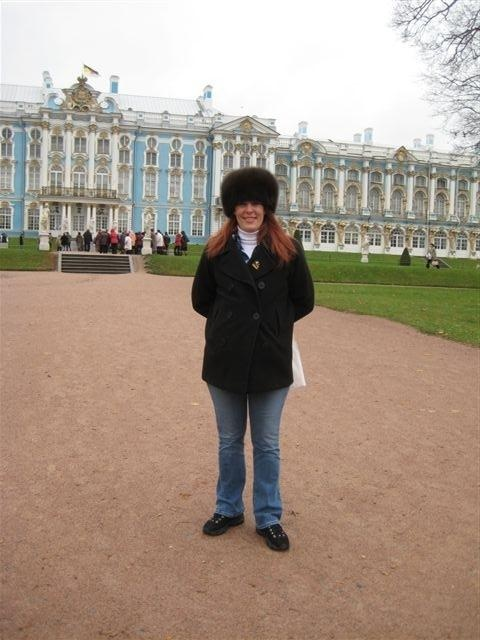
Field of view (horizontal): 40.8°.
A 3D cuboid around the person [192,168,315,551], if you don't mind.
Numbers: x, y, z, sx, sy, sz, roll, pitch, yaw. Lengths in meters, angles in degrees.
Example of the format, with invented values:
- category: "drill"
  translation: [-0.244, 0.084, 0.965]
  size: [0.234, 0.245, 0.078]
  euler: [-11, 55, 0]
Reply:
- category: "person"
  translation: [0.045, 0.190, 3.494]
  size: [0.663, 2.019, 0.414]
  euler: [3, 7, 7]

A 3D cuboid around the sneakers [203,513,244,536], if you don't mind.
- category: "sneakers"
  translation: [-0.096, 1.146, 3.646]
  size: [0.224, 0.130, 0.088]
  euler: [4, -6, -37]

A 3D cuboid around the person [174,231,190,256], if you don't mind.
- category: "person"
  translation: [-3.174, -4.142, 34.397]
  size: [0.613, 1.151, 3.141]
  euler: [1, 9, -6]

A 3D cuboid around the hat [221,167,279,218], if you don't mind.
- category: "hat"
  translation: [0.040, -0.661, 3.456]
  size: [0.217, 0.211, 0.279]
  euler: [-2, 2, -3]

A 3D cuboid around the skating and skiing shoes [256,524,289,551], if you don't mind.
- category: "skating and skiing shoes"
  translation: [0.188, 1.168, 3.453]
  size: [0.077, 0.092, 0.174]
  euler: [1, -7, -23]
